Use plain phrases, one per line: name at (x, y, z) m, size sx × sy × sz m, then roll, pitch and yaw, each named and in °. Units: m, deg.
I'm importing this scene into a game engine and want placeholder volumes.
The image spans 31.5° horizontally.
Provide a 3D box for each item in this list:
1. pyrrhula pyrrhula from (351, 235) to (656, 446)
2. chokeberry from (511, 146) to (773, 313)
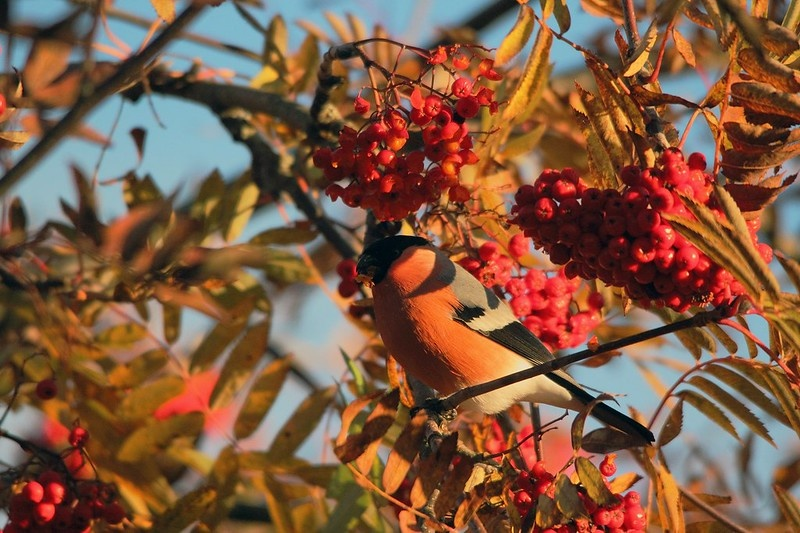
pyrrhula pyrrhula at (0.497, 0.428, 7.524) m, size 1.756 × 0.778 × 0.539 m, roll 18°, pitch -20°, yaw -14°
chokeberry at (0.974, -0.135, 6.187) m, size 0.841 × 0.470 × 0.959 m, roll 31°, pitch -5°, yaw 11°
